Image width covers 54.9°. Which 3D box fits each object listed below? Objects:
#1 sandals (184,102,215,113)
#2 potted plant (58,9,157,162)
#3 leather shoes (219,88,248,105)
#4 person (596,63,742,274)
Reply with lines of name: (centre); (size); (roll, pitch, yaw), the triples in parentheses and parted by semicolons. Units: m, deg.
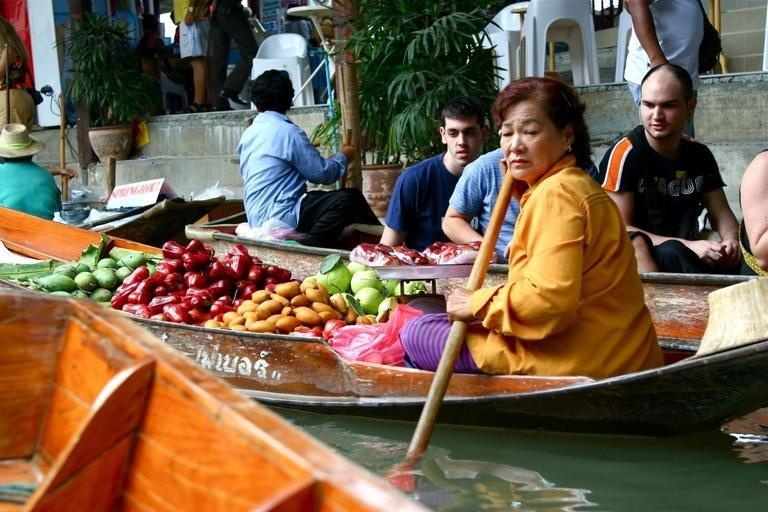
sandals: (-2.721, -2.185, 10.983); (0.481, 0.127, 0.170); (3, -2, -38)
potted plant: (-3.953, -2.494, 10.573); (1.314, 2.016, 0.975); (4, 6, 42)
leather shoes: (-2.230, -2.346, 10.930); (0.453, 0.172, 0.148); (2, 17, -40)
person: (1.818, -0.361, 4.666); (0.820, 1.659, 1.189); (-3, 17, 10)
